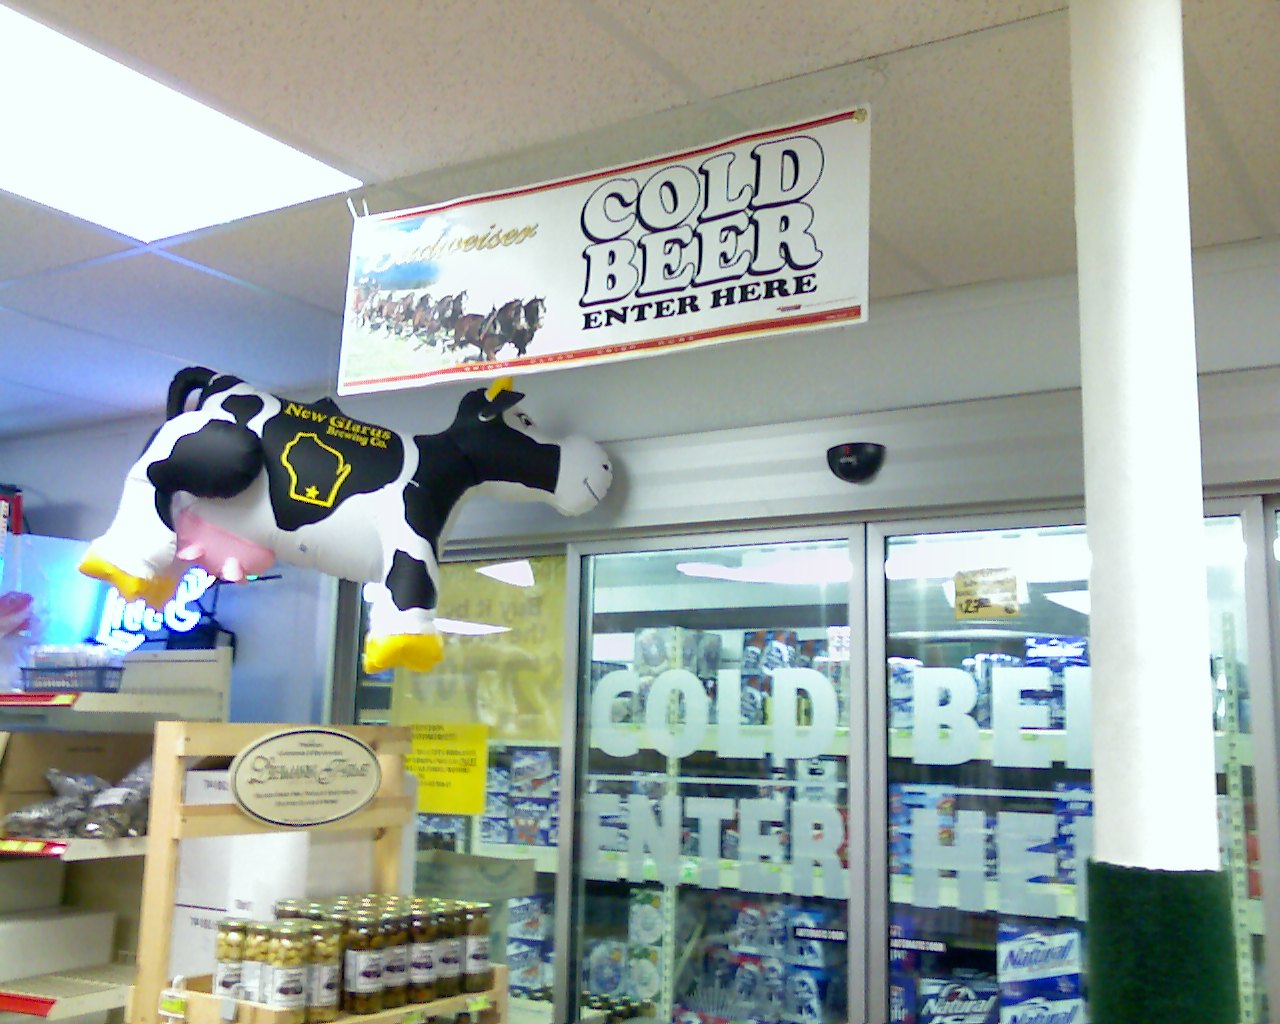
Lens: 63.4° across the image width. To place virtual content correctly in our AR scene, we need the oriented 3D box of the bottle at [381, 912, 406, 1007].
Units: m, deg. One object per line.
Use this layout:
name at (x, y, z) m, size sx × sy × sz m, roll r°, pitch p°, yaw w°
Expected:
bottle at (-0.543, 0.983, 2.285) m, size 0.023 × 0.196 × 0.094 m, roll -6°, pitch -14°, yaw 26°

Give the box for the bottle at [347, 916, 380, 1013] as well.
bottle at (-0.599, 0.972, 2.237) m, size 0.080 × 0.195 × 0.037 m, roll 3°, pitch -13°, yaw -11°

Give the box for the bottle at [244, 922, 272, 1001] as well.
bottle at (-0.816, 0.949, 2.196) m, size 0.080 × 0.154 × 0.024 m, roll -9°, pitch -16°, yaw 37°

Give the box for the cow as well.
cow at (-0.801, 0.049, 2.764) m, size 1.381 × 0.725 × 0.289 m, roll -1°, pitch -13°, yaw 9°

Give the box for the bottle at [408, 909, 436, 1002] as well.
bottle at (-0.490, 0.993, 2.328) m, size 0.069 × 0.190 × 0.031 m, roll 6°, pitch -14°, yaw -22°

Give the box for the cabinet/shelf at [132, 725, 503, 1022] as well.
cabinet/shelf at (-0.850, 0.740, 2.674) m, size 0.867 × 0.796 × 0.782 m, roll 7°, pitch -9°, yaw -40°

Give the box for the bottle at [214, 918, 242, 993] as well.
bottle at (-0.889, 0.956, 2.237) m, size 0.099 × 0.150 × 0.024 m, roll -9°, pitch -16°, yaw 36°

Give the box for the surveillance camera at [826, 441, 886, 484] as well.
surveillance camera at (0.502, -0.116, 2.421) m, size 0.093 × 0.059 × 0.092 m, roll 5°, pitch -8°, yaw -19°

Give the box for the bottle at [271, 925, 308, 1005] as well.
bottle at (-0.734, 0.946, 2.171) m, size 0.081 × 0.165 × 0.047 m, roll 4°, pitch -13°, yaw -17°
